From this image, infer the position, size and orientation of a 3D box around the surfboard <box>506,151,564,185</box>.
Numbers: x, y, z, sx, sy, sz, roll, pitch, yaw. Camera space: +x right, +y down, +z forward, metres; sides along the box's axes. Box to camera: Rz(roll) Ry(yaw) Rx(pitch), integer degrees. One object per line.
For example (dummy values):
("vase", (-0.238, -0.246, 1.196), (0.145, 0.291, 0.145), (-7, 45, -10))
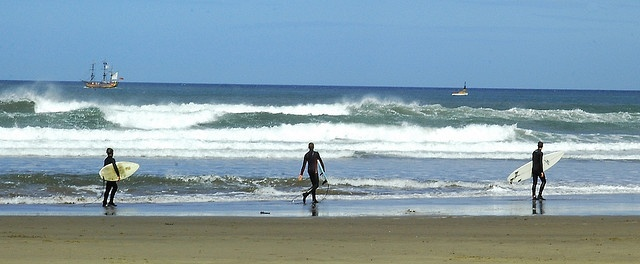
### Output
("surfboard", (19.479, 3.226, 91.830), (8.358, 1.577, 1.050), (-18, 3, 20))

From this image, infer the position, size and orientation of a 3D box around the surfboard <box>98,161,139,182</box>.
("surfboard", (-17.732, 3.378, 89.674), (3.895, 1.179, 0.601), (-8, -2, -26))

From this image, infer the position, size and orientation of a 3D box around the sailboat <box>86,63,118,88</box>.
("sailboat", (-37.843, -10.089, 174.117), (7.931, 4.039, 3.461), (-2, 5, -41))
